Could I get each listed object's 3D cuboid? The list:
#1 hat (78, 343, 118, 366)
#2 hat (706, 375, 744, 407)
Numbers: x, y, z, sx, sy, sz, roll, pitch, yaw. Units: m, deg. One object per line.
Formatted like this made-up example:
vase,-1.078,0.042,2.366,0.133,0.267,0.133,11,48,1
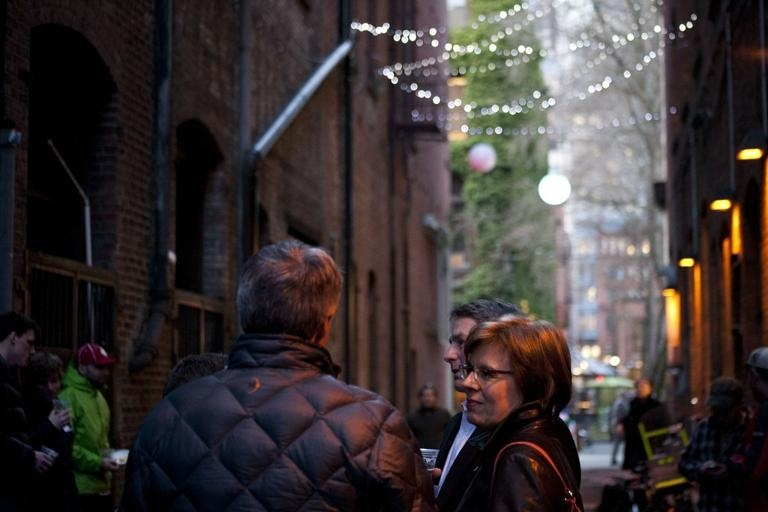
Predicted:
hat,-2.544,0.885,12.184,0.257,0.177,0.185,0,2,-5
hat,3.247,1.295,13.052,0.222,0.206,0.316,0,4,36
